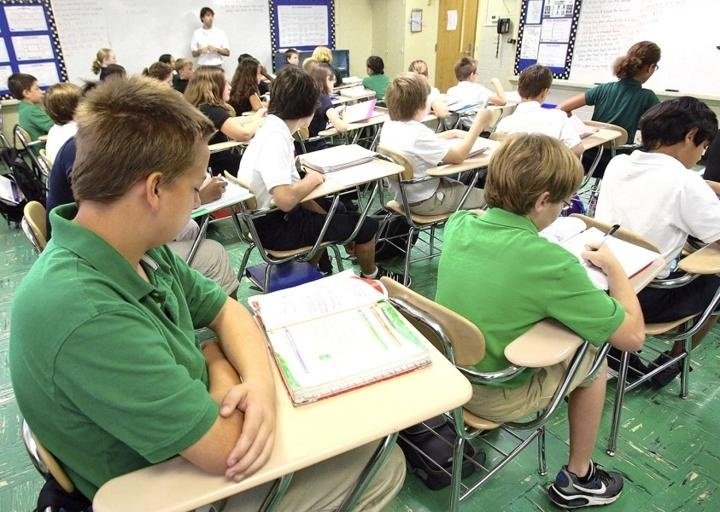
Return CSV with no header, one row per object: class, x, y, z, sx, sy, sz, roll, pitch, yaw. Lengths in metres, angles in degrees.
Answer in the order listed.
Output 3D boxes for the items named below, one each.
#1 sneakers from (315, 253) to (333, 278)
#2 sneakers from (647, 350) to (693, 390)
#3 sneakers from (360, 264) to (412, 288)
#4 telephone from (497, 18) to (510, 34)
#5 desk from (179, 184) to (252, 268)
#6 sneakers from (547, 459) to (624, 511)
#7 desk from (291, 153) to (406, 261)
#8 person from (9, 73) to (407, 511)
sneakers,-0.247,0.066,3.255,0.101,0.229,0.110,13,21,38
sneakers,1.605,0.578,2.502,0.221,0.067,0.166,-28,29,-18
sneakers,0.213,0.106,3.290,0.396,0.178,0.132,-5,30,-7
telephone,2.149,-3.441,7.140,0.097,0.180,0.186,-20,35,-33
desk,-0.757,-0.146,2.563,0.319,0.292,0.313,-27,44,-32
sneakers,0.914,0.919,2.004,0.366,0.188,0.137,-4,13,-14
desk,-0.084,-0.347,3.074,0.690,0.506,0.561,-24,49,-19
person,-0.482,0.103,1.212,0.604,1.032,0.551,8,25,21
